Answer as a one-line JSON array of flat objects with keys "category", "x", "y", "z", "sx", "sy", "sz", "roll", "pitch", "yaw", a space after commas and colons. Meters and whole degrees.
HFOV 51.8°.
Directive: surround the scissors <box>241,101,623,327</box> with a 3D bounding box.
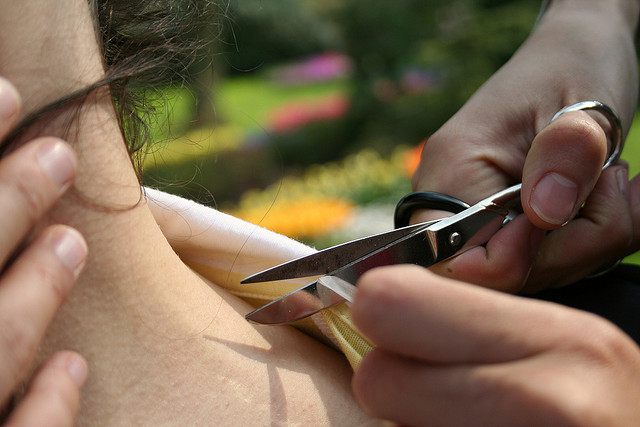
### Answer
[{"category": "scissors", "x": 0.259, "y": 0.051, "z": 1.137, "sx": 0.794, "sy": 0.105, "sz": 0.276, "roll": -24, "pitch": 30, "yaw": -17}]
